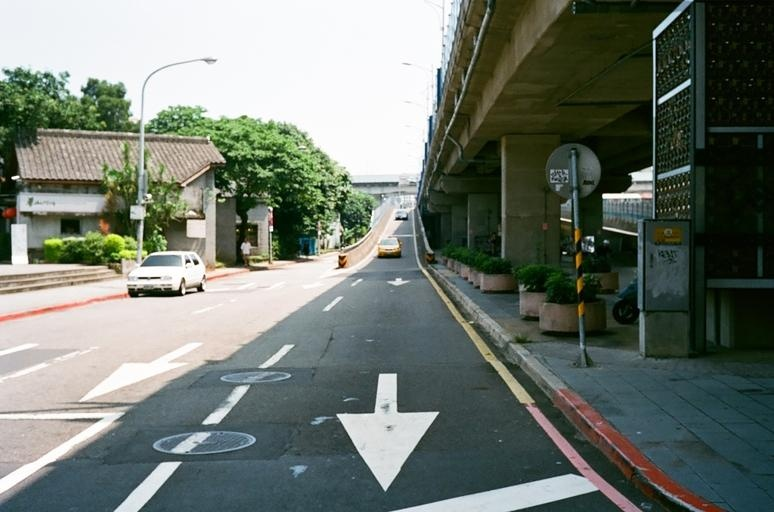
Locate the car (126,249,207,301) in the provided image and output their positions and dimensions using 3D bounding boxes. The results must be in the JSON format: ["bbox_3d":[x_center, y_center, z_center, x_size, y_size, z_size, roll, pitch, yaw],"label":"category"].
[{"bbox_3d":[-8.594,0.716,27.280,1.785,1.583,3.073,0,8,17],"label":"car"}]

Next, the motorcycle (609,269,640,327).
[{"bbox_3d":[5.908,1.145,17.219,0.588,1.089,0.670,1,8,19],"label":"motorcycle"}]

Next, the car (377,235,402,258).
[{"bbox_3d":[0.226,-0.514,59.001,1.736,1.322,3.624,-2,8,4],"label":"car"}]
